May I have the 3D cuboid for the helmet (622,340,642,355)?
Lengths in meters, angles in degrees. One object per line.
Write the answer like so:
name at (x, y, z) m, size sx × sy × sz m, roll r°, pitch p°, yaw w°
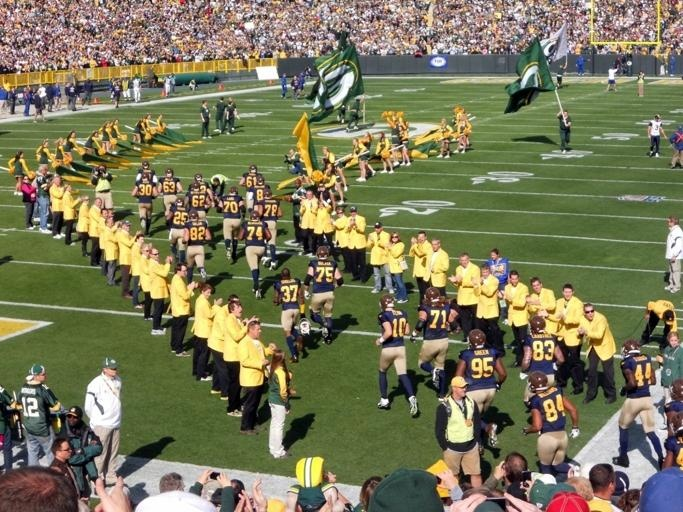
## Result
helmet at (6.884, 2.275, 32.385) m, size 0.311 × 0.379 × 0.373 m, roll 3°, pitch 32°, yaw -4°

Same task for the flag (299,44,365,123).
flag at (-0.221, -7.320, 58.261) m, size 2.239 × 3.406 × 1.906 m, roll 13°, pitch 26°, yaw 36°

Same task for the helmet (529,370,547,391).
helmet at (4.462, 2.907, 31.446) m, size 0.326 × 0.396 × 0.449 m, roll -5°, pitch 16°, yaw -22°

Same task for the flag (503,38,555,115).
flag at (7.822, -7.415, 55.501) m, size 1.420 × 3.219 × 1.683 m, roll -18°, pitch 26°, yaw -40°

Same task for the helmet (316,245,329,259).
helmet at (-0.492, -0.102, 36.421) m, size 0.310 × 0.314 × 0.350 m, roll -7°, pitch 12°, yaw -6°

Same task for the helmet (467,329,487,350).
helmet at (3.177, 1.962, 32.287) m, size 0.344 × 0.446 × 0.451 m, roll 0°, pitch 42°, yaw -9°

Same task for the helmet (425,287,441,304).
helmet at (2.263, 0.985, 33.856) m, size 0.360 × 0.399 × 0.360 m, roll -5°, pitch 12°, yaw 4°

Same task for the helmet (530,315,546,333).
helmet at (4.733, 1.667, 33.124) m, size 0.305 × 0.346 × 0.380 m, roll -1°, pitch 22°, yaw -6°
